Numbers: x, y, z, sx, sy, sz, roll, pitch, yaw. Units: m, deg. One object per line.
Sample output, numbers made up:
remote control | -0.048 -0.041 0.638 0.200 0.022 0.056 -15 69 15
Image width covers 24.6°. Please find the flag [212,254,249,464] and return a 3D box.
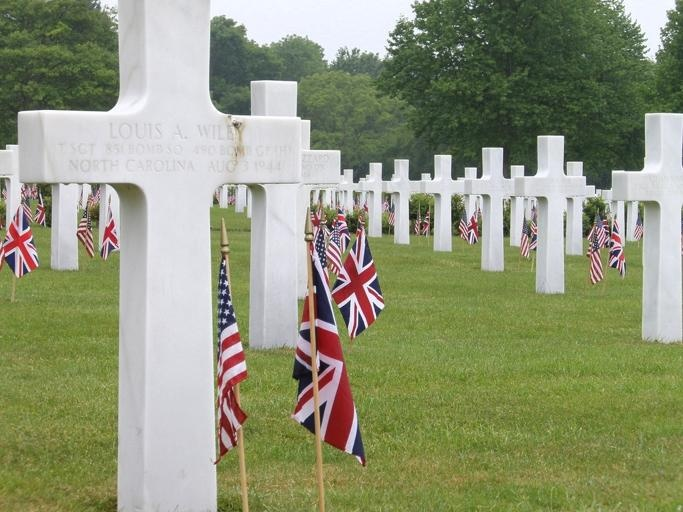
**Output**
flag | -2.308 2.119 33.141 0.595 4.226 0.531 1 3 -3

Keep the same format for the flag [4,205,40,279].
flag | -8.588 -0.401 41.902 0.921 1.995 1.547 0 3 -11

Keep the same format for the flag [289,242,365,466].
flag | -0.320 2.092 33.172 1.396 4.273 0.493 1 3 -1
